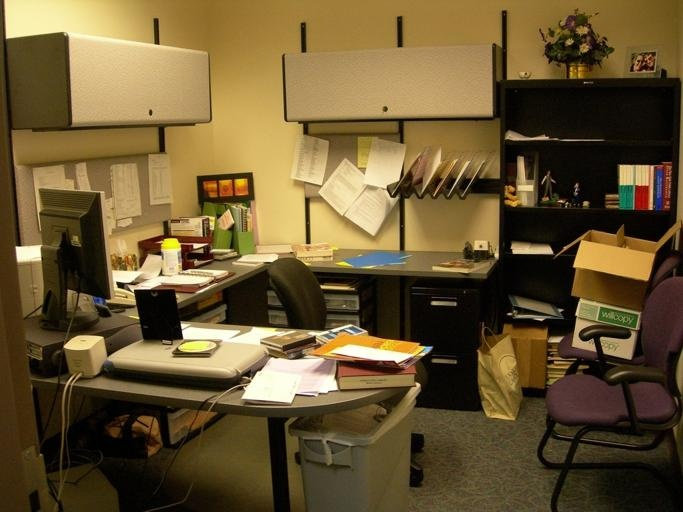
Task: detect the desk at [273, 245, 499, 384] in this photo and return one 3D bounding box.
[{"bbox_3d":[0.551,0.381,4.129,1.438,0.697,0.560,-10,-3,-6],"label":"desk"}]

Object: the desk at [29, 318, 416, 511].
[{"bbox_3d":[-0.533,0.708,2.356,0.890,0.440,0.580,4,12,22],"label":"desk"}]

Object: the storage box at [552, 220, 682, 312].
[{"bbox_3d":[1.598,0.067,3.117,0.623,0.417,0.561,10,17,30],"label":"storage box"}]

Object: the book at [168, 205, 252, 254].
[{"bbox_3d":[-0.904,-0.189,3.944,0.553,0.398,0.369,-1,4,5],"label":"book"}]

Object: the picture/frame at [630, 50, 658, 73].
[{"bbox_3d":[1.936,-1.235,3.470,0.159,0.154,0.016,4,5,15],"label":"picture/frame"}]

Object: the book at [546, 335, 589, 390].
[{"bbox_3d":[1.414,0.700,3.455,0.324,0.147,0.413,0,5,13],"label":"book"}]

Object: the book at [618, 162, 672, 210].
[{"bbox_3d":[1.894,-0.422,3.555,0.396,0.376,0.290,0,10,15],"label":"book"}]

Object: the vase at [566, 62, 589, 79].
[{"bbox_3d":[1.531,-1.167,3.519,0.113,0.083,0.115,2,3,45],"label":"vase"}]

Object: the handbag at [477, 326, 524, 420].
[{"bbox_3d":[0.993,0.752,3.415,0.271,0.685,0.466,-4,8,20],"label":"handbag"}]

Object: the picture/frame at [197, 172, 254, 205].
[{"bbox_3d":[-0.885,-0.522,4.265,0.455,0.241,0.054,-7,12,-28],"label":"picture/frame"}]

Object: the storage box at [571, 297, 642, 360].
[{"bbox_3d":[1.535,0.396,3.154,0.399,0.290,0.398,5,5,30],"label":"storage box"}]

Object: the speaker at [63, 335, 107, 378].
[{"bbox_3d":[-0.988,0.385,2.167,0.159,0.151,0.159,0,5,1],"label":"speaker"}]

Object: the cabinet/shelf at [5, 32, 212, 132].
[{"bbox_3d":[-1.271,-0.955,3.012,0.969,0.499,0.314,-10,14,-42],"label":"cabinet/shelf"}]
